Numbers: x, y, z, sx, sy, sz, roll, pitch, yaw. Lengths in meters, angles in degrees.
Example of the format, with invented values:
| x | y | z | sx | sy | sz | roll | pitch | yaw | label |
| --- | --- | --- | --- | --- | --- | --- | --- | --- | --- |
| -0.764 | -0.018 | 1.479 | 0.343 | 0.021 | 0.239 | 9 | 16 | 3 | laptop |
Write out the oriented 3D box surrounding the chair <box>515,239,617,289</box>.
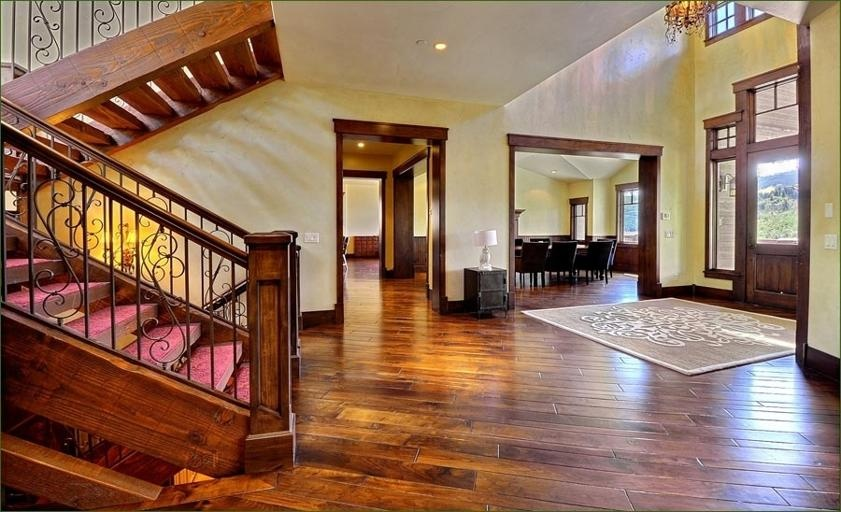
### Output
| x | y | z | sx | sy | sz | roll | pitch | yaw | label |
| --- | --- | --- | --- | --- | --- | --- | --- | --- | --- |
| 3.254 | 0.146 | 11.435 | 1.737 | 0.989 | 2.679 | 1 | 1 | 29 | chair |

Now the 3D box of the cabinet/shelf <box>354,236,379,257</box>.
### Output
| x | y | z | sx | sy | sz | roll | pitch | yaw | label |
| --- | --- | --- | --- | --- | --- | --- | --- | --- | --- |
| -2.033 | -0.385 | 19.008 | 0.835 | 0.641 | 0.353 | -1 | 5 | -13 | cabinet/shelf |

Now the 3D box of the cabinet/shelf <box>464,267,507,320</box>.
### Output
| x | y | z | sx | sy | sz | roll | pitch | yaw | label |
| --- | --- | --- | --- | --- | --- | --- | --- | --- | --- |
| 1.024 | 0.572 | 8.269 | 0.663 | 0.674 | 0.652 | -2 | 3 | -34 | cabinet/shelf |

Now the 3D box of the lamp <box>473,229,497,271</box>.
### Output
| x | y | z | sx | sy | sz | roll | pitch | yaw | label |
| --- | --- | --- | --- | --- | --- | --- | --- | --- | --- |
| 1.004 | -0.109 | 8.210 | 0.302 | 0.626 | 0.690 | 0 | 1 | 5 | lamp |
